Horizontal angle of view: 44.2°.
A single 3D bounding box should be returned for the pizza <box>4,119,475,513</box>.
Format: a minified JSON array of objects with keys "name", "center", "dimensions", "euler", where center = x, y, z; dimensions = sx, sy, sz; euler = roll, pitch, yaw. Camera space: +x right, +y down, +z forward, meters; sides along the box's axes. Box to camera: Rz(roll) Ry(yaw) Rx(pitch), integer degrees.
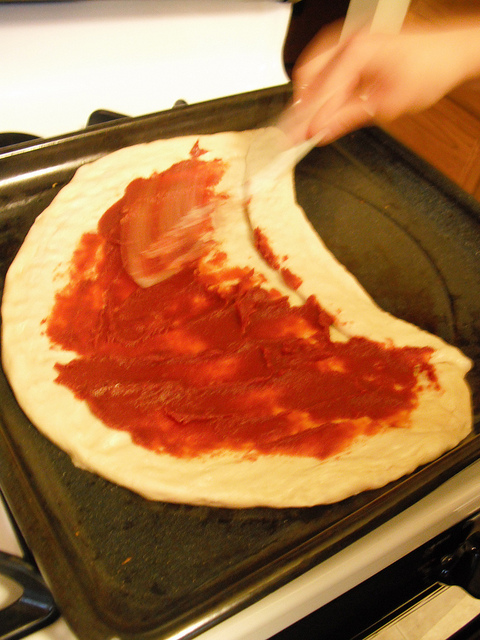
[{"name":"pizza","center":[-0.032,-0.020,0.632],"dimensions":[0.439,0.053,0.494],"euler":[-22,65,-18]}]
